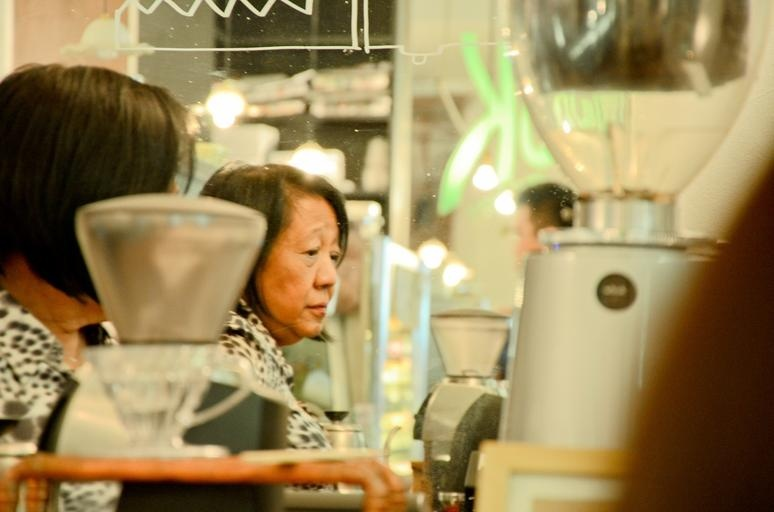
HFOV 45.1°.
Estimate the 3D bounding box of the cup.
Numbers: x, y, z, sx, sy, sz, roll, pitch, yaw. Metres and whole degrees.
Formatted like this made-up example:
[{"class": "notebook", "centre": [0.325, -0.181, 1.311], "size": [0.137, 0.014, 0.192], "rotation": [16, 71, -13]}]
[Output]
[{"class": "cup", "centre": [-0.182, 0.067, 1.075], "size": [0.262, 0.298, 0.232], "rotation": [1, -3, 1]}]
